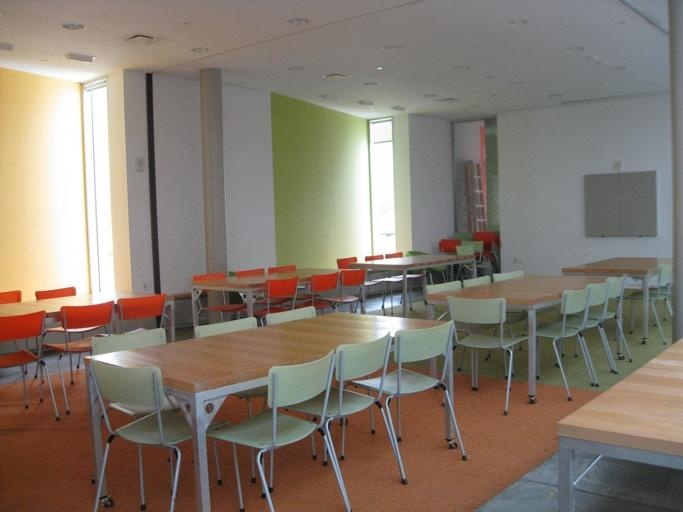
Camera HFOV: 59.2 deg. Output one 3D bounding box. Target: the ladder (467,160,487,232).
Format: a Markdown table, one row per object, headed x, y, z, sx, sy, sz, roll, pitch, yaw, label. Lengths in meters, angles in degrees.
| x | y | z | sx | sy | sz | roll | pitch | yaw | label |
| --- | --- | --- | --- | --- | --- | --- | --- | --- | --- |
| 3.393 | -1.479 | 14.941 | 0.469 | 1.737 | 0.086 | -2 | 5 | 38 | ladder |

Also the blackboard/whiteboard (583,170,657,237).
| x | y | z | sx | sy | sz | roll | pitch | yaw | label |
| --- | --- | --- | --- | --- | --- | --- | --- | --- | --- |
| 5.904 | -1.099 | 12.579 | 1.346 | 1.376 | 0.141 | 0 | 1 | 36 | blackboard/whiteboard |
